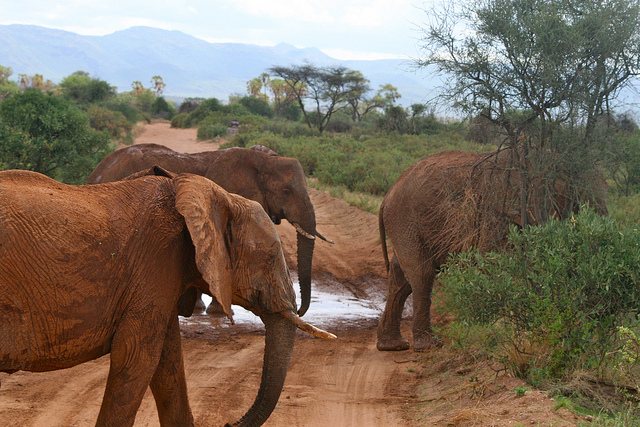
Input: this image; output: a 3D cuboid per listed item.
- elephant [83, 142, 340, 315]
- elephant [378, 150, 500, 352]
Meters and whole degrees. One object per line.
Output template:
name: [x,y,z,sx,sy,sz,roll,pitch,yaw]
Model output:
elephant: [-1.951,0.369,11.349,4.760,3.043,2.375,5,10,5]
elephant: [1.513,0.544,10.119,1.279,3.021,2.875,4,10,5]
